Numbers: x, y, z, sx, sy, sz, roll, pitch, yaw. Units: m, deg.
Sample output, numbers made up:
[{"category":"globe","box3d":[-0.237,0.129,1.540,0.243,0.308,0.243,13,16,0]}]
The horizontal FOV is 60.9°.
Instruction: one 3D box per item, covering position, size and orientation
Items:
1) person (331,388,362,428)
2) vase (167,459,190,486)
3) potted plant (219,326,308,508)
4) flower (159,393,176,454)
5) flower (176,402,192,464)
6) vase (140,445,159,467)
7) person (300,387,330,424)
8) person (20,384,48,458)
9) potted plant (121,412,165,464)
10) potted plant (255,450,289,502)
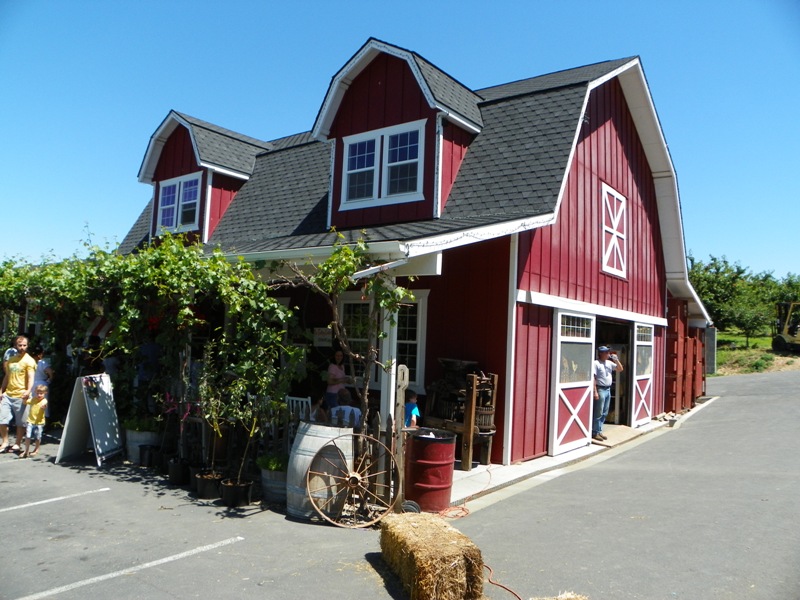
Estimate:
[{"category":"person","box3d":[-1.015,1.976,12.492,0.719,0.806,0.409,-8,-14,36]},{"category":"vase","box3d":[-3.865,3.022,12.017,0.296,0.455,0.407,6,-6,-42]},{"category":"potted plant","box3d":[-2.351,1.834,11.547,1.115,2.871,1.483,1,2,-13]},{"category":"flower","box3d":[-4.386,2.292,12.801,0.259,1.072,0.651,0,2,-40]},{"category":"flower","box3d":[-3.880,2.311,12.243,0.192,0.925,0.787,1,2,-17]},{"category":"vase","box3d":[-4.725,2.918,12.798,0.337,0.385,0.150,1,2,-11]},{"category":"person","box3d":[-1.675,2.103,13.603,0.446,0.938,0.571,-3,-15,9]},{"category":"person","box3d":[-7.386,2.379,13.735,0.467,1.354,1.179,1,2,-28]},{"category":"potted plant","box3d":[-5.172,2.624,13.448,0.584,0.877,0.825,-20,-6,-29]},{"category":"potted plant","box3d":[-2.027,2.911,11.143,0.618,0.746,0.322,3,2,37]}]
